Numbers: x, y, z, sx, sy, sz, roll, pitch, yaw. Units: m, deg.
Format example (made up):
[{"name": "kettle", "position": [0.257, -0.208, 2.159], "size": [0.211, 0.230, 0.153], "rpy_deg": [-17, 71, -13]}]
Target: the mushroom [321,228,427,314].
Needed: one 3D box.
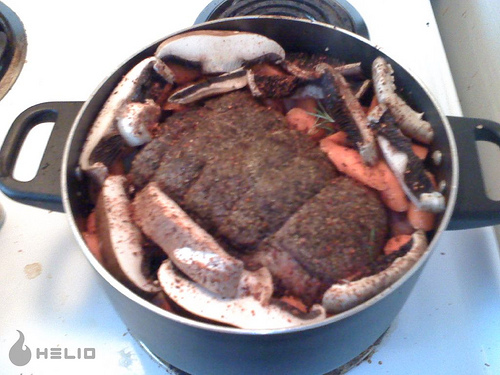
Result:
[{"name": "mushroom", "position": [0.264, 0.176, 1.137], "size": [0.199, 0.124, 0.033], "rpy_deg": [-31, 97, -9]}]

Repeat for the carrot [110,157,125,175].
[{"name": "carrot", "position": [-0.311, -0.051, 1.243], "size": [0.029, 0.010, 0.036], "rpy_deg": [18, 81, -13]}]

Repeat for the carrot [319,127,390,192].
[{"name": "carrot", "position": [0.231, -0.057, 1.220], "size": [0.164, 0.104, 0.031], "rpy_deg": [37, 92, 0]}]

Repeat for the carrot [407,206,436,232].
[{"name": "carrot", "position": [0.386, 0.067, 1.171], "size": [0.058, 0.028, 0.052], "rpy_deg": [4, 89, 13]}]

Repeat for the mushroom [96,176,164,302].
[{"name": "mushroom", "position": [-0.266, 0.112, 1.163], "size": [0.150, 0.050, 0.240], "rpy_deg": [-6, 76, -30]}]

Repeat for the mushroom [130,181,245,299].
[{"name": "mushroom", "position": [-0.159, 0.112, 1.194], "size": [0.342, 0.128, 0.087], "rpy_deg": [42, 126, 36]}]

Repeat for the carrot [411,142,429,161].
[{"name": "carrot", "position": [0.394, -0.085, 1.238], "size": [0.039, 0.010, 0.029], "rpy_deg": [35, 65, 1]}]

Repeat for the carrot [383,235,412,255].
[{"name": "carrot", "position": [0.321, 0.121, 1.168], "size": [0.050, 0.038, 0.013], "rpy_deg": [-42, 118, -11]}]

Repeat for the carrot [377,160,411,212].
[{"name": "carrot", "position": [0.314, 0.018, 1.171], "size": [0.051, 0.019, 0.065], "rpy_deg": [-36, 80, 30]}]

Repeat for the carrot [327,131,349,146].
[{"name": "carrot", "position": [0.209, -0.115, 1.247], "size": [0.039, 0.010, 0.034], "rpy_deg": [27, 75, 14]}]

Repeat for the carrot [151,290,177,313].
[{"name": "carrot", "position": [-0.189, 0.242, 1.137], "size": [0.051, 0.013, 0.036], "rpy_deg": [44, 81, -2]}]

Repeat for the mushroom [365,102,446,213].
[{"name": "mushroom", "position": [0.344, -0.068, 1.279], "size": [0.113, 0.076, 0.290], "rpy_deg": [-14, 66, -18]}]

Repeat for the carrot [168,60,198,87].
[{"name": "carrot", "position": [-0.168, -0.292, 1.339], "size": [0.062, 0.019, 0.077], "rpy_deg": [-24, 84, -2]}]
